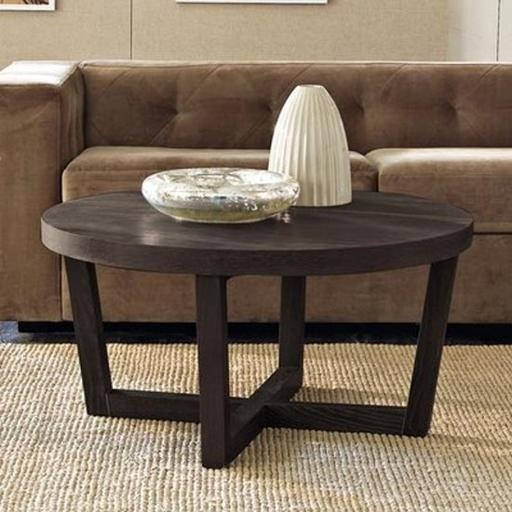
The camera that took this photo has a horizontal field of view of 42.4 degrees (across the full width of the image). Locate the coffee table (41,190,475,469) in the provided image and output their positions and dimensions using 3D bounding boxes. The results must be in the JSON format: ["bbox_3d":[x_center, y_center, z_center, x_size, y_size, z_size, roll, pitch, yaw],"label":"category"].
[{"bbox_3d":[0.077,0.206,1.198,0.526,0.333,0.580,2,6,14],"label":"coffee table"}]
